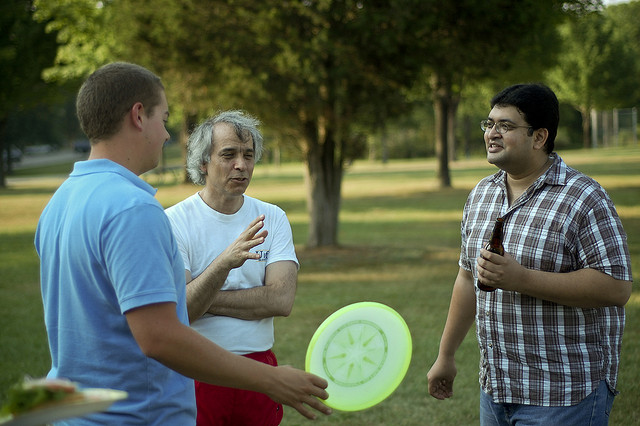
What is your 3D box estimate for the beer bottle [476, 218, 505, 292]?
[{"bbox_3d":[1.404,0.326,6.825,0.179,0.610,0.192,7,14,-2],"label":"beer bottle"}]
